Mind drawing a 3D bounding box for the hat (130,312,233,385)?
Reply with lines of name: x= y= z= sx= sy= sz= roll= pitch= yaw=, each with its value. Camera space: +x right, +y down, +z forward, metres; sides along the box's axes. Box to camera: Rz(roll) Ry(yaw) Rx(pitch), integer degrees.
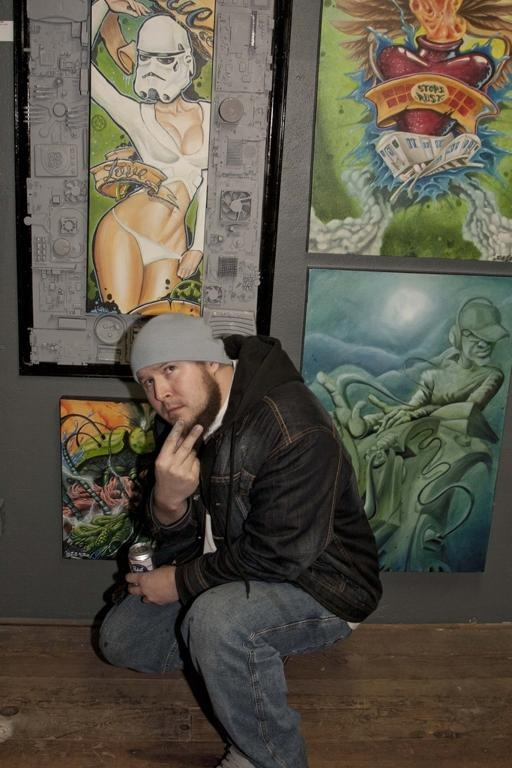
hat: x=-0.190 y=-0.095 z=1.909 sx=0.296 sy=0.122 sz=0.206 roll=-1 pitch=-16 yaw=-10
